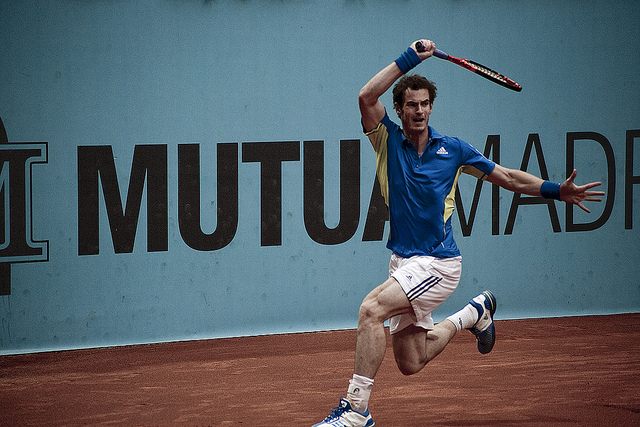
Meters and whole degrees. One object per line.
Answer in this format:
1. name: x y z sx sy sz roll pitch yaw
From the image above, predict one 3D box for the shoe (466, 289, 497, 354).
1. shoe: 1.510 0.935 6.033 0.254 0.678 0.199 -16 19 -23
